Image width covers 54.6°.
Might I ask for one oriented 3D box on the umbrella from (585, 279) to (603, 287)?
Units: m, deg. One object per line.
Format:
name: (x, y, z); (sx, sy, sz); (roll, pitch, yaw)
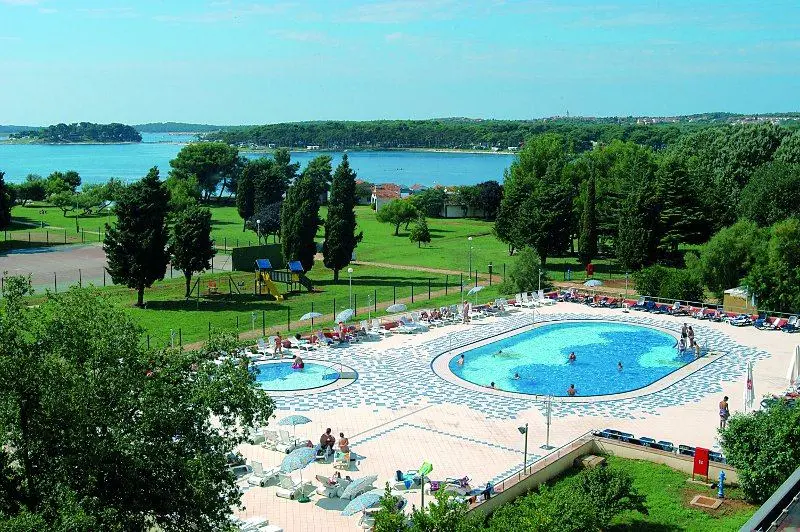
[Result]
umbrella: (19.271, 1.662, 76.602); (1.499, 0.688, 2.635); (6, 15, 20)

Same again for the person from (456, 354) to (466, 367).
person: (4.655, 7.165, 58.689); (0.414, 1.028, 0.364); (21, 30, 39)

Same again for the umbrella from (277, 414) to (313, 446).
umbrella: (-5.972, 9.350, 44.688); (1.667, 1.474, 1.715); (6, 12, 36)

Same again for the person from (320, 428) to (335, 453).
person: (-4.151, 10.068, 44.461); (0.752, 1.452, 0.967); (10, 25, 20)

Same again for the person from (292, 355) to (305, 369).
person: (-7.367, 7.018, 56.277); (1.114, 1.514, 0.762); (0, 3, -8)
